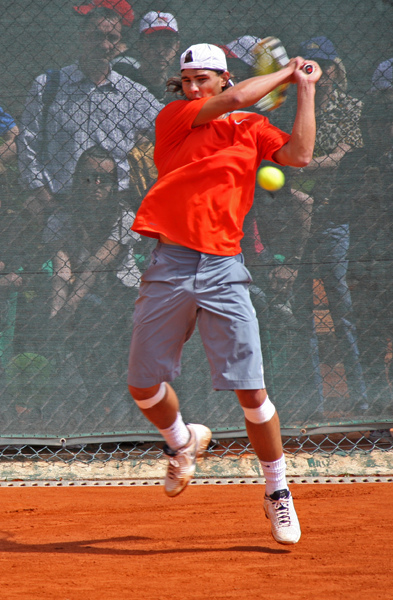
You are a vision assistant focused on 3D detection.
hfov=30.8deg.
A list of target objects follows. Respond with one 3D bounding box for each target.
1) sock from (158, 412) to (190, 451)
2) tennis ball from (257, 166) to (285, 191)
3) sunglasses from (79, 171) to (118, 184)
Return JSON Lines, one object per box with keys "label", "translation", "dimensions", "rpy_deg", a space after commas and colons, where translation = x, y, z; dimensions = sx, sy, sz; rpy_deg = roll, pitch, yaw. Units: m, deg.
{"label": "sock", "translation": [-0.084, 0.510, 2.756], "dimensions": [0.104, 0.104, 0.134], "rpy_deg": [-17, 48, -6]}
{"label": "tennis ball", "translation": [0.284, -0.470, 2.822], "dimensions": [0.129, 0.117, 0.094], "rpy_deg": [-4, 49, 5]}
{"label": "sunglasses", "translation": [-0.510, -0.636, 3.704], "dimensions": [0.197, 0.054, 0.051], "rpy_deg": [1, 50, 8]}
